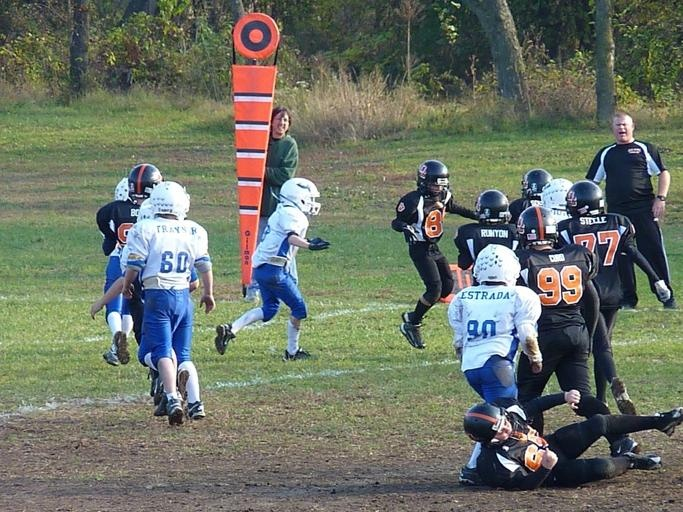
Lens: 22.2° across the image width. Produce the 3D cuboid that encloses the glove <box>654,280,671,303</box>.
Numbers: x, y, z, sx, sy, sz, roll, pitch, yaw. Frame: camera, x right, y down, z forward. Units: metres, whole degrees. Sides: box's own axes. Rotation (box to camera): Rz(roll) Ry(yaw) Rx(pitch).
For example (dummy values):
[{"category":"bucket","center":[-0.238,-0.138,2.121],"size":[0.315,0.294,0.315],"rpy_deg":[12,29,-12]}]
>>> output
[{"category":"glove","center":[6.103,0.589,33.214],"size":[0.305,0.406,0.179],"rpy_deg":[-33,23,16]}]

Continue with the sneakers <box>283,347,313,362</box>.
[{"category":"sneakers","center":[-0.798,1.754,32.124],"size":[0.519,0.211,0.198],"rpy_deg":[-2,5,-7]}]

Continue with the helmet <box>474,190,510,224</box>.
[{"category":"helmet","center":[2.702,-0.909,31.045],"size":[0.519,0.576,0.593],"rpy_deg":[2,-21,7]}]

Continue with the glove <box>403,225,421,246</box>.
[{"category":"glove","center":[1.292,-0.437,32.547],"size":[0.258,0.379,0.359],"rpy_deg":[-2,5,13]}]

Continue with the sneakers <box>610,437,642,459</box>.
[{"category":"sneakers","center":[4.704,3.100,29.106],"size":[0.621,0.284,0.203],"rpy_deg":[-20,-9,2]}]

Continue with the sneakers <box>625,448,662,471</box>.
[{"category":"sneakers","center":[4.958,3.275,28.906],"size":[0.688,0.228,0.300],"rpy_deg":[0,-7,5]}]
